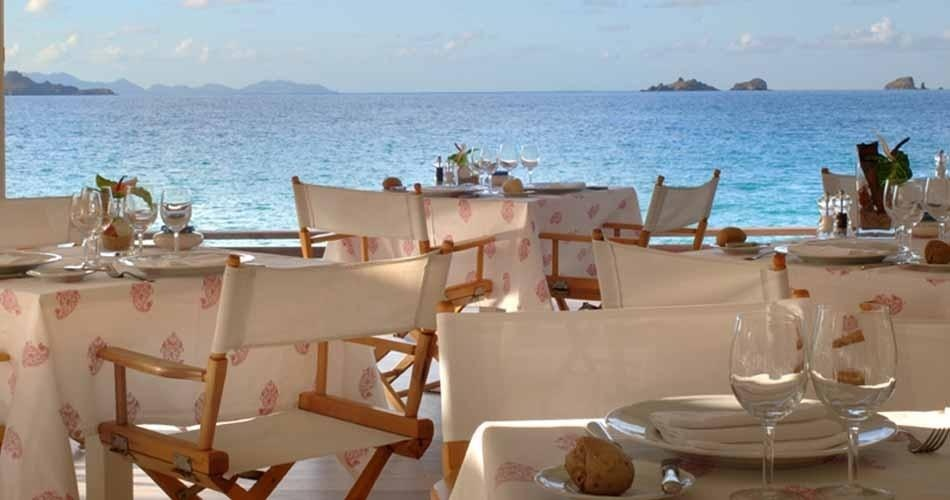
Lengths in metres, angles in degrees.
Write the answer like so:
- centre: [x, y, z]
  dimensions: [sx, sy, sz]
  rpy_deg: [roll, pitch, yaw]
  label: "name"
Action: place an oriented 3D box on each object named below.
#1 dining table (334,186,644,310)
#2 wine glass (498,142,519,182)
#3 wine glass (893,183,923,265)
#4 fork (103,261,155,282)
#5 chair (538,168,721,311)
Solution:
- centre: [0.263, 0.021, 4.351]
  dimensions: [1.607, 0.408, 1.559]
  rpy_deg: [-10, -19, 19]
  label: "dining table"
- centre: [0.194, -0.536, 4.739]
  dimensions: [0.124, 0.202, 0.277]
  rpy_deg: [-1, 6, 2]
  label: "wine glass"
- centre: [1.383, -0.090, 2.560]
  dimensions: [0.119, 0.232, 0.104]
  rpy_deg: [1, -1, 2]
  label: "wine glass"
- centre: [-1.067, 0.069, 2.452]
  dimensions: [0.118, 0.015, 0.032]
  rpy_deg: [18, 5, 3]
  label: "fork"
- centre: [0.794, 0.074, 4.091]
  dimensions: [0.699, 0.853, 0.765]
  rpy_deg: [-1, 7, 38]
  label: "chair"
